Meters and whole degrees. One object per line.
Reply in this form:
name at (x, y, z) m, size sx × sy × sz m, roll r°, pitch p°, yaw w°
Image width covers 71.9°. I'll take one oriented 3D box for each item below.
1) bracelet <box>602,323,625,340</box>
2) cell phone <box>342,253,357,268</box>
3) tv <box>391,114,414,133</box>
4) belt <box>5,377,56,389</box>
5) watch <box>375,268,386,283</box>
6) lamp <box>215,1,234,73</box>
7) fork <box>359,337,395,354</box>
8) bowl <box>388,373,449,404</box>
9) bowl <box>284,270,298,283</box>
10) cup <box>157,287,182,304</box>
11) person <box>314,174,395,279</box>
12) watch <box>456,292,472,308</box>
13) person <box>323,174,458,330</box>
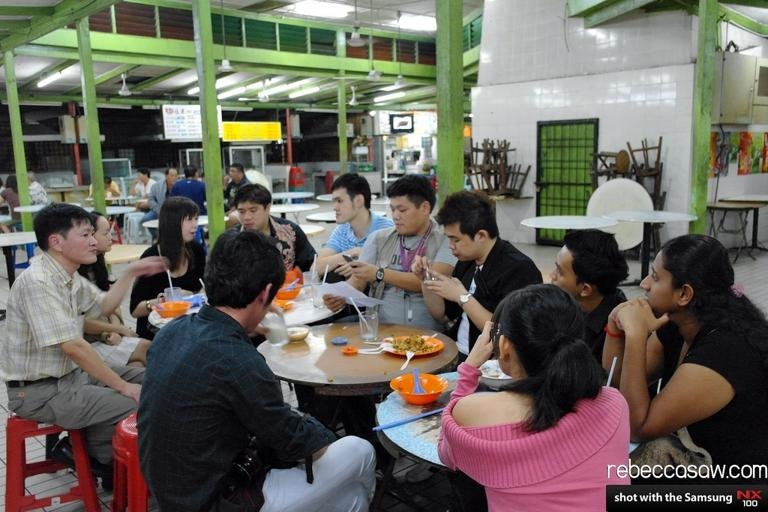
bracelet at (1.112, 0.362, 2.544) m, size 0.069 × 0.080 × 0.027 m, roll -20°, pitch -18°, yaw -8°
cell phone at (-0.284, 0.038, 4.378) m, size 0.066 × 0.151 × 0.050 m, roll -25°, pitch -26°, yaw 1°
tv at (0.658, -5.077, 20.334) m, size 0.768 × 0.627 × 0.405 m, roll 0°, pitch 8°, yaw -11°
belt at (-2.076, 0.738, 3.093) m, size 0.121 × 0.028 × 0.125 m, roll -2°, pitch 2°, yaw 2°
watch at (-0.028, 0.132, 3.721) m, size 0.060 × 0.087 × 0.080 m, roll 3°, pitch 4°, yaw -5°
lamp at (-3.227, -4.340, 10.440) m, size 0.244 × 1.406 × 0.887 m, roll -7°, pitch 10°, yaw -16°
fork at (-0.032, 0.534, 3.121) m, size 0.245 × 0.072 × 0.029 m, roll 0°, pitch -20°, yaw -36°
bowl at (0.173, 0.662, 2.604) m, size 0.274 × 0.080 × 0.272 m, roll 0°, pitch 8°, yaw 0°
bowl at (-0.715, 0.160, 4.035) m, size 0.092 × 0.085 × 0.092 m, roll -15°, pitch -30°, yaw -9°
cup at (-1.549, 0.280, 3.784) m, size 0.144 × 0.131 × 0.087 m, roll 1°, pitch 4°, yaw 8°
person at (-0.232, -0.219, 4.588) m, size 0.641 × 0.917 × 0.711 m, roll -11°, pitch 11°, yaw -40°
watch at (0.481, 0.256, 3.182) m, size 0.063 × 0.091 × 0.097 m, roll 35°, pitch 54°, yaw 19°
person at (0.057, 0.240, 3.875) m, size 0.916 × 1.531 × 0.715 m, roll -2°, pitch 6°, yaw -19°
